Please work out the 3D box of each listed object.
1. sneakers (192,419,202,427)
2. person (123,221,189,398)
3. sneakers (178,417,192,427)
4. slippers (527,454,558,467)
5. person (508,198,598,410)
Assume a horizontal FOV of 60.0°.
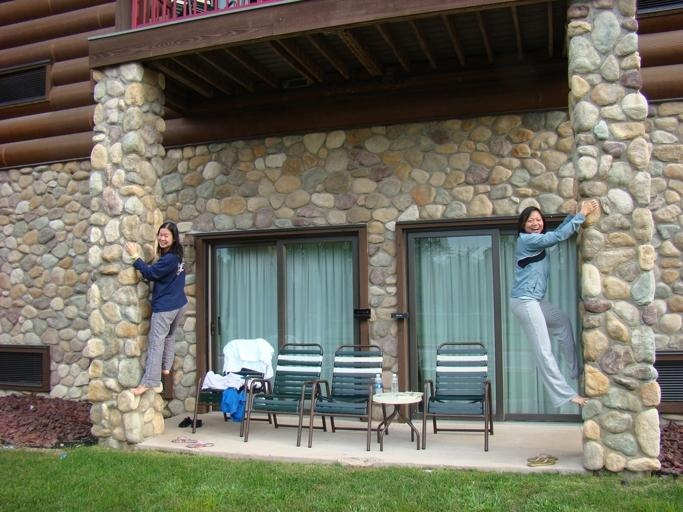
[{"bbox_3d":[-1.825,2.105,7.480,0.091,0.093,0.115,3,-1,0],"label":"sneakers"},{"bbox_3d":[-2.185,0.612,7.100,0.634,1.838,0.416,-1,1,-19],"label":"person"},{"bbox_3d":[-2.004,2.125,7.574,0.167,0.109,0.232,-2,0,-16],"label":"sneakers"},{"bbox_3d":[1.968,2.007,5.771,0.171,0.045,0.128,0,-5,-5],"label":"slippers"},{"bbox_3d":[2.197,0.496,6.176,0.527,2.046,1.018,-1,1,-14],"label":"person"}]
